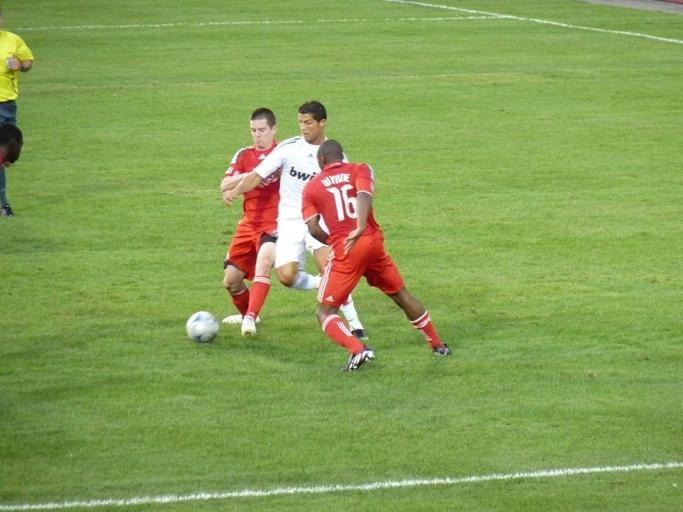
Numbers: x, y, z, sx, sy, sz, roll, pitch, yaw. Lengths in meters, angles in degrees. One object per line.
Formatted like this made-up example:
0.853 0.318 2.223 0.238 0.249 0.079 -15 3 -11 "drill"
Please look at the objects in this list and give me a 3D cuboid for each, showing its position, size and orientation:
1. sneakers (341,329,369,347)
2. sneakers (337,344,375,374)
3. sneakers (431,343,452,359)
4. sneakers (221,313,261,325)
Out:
0.193 1.022 20.148 0.136 0.145 0.360 7 -23 -45 "sneakers"
0.170 1.326 19.510 0.283 0.181 0.537 23 -47 -38 "sneakers"
1.247 1.184 19.711 0.113 0.114 0.291 -5 -11 26 "sneakers"
-1.318 0.819 20.658 0.543 0.178 0.166 3 -2 1 "sneakers"
